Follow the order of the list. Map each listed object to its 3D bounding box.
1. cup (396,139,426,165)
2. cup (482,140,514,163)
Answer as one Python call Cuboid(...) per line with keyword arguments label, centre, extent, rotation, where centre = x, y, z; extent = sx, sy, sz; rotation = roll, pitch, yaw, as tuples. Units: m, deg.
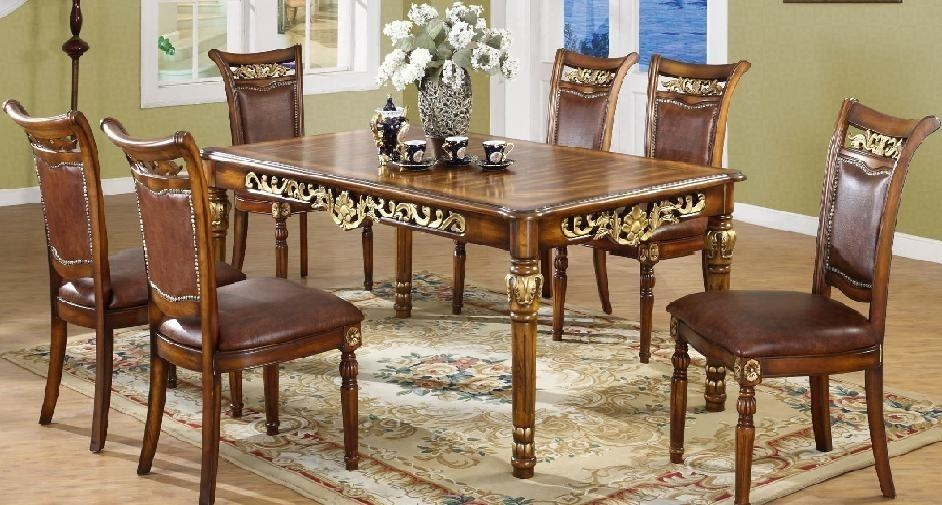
Cuboid(label="cup", centre=(-0.305, -0.532, 4.179), extent=(0.228, 0.103, 0.131), rotation=(-6, 20, -21))
Cuboid(label="cup", centre=(0.155, -0.538, 4.216), extent=(0.145, 0.086, 0.183), rotation=(8, 16, 26))
